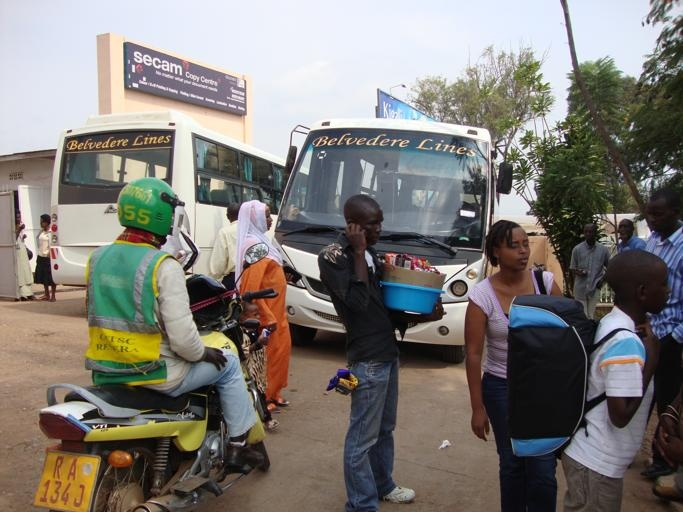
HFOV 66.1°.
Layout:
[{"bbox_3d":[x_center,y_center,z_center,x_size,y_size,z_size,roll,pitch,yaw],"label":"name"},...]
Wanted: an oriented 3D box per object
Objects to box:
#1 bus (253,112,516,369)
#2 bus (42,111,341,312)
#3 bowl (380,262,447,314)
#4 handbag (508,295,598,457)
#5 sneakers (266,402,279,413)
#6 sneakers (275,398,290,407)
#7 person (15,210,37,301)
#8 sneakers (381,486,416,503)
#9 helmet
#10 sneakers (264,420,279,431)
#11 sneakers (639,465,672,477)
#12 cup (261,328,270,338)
[{"bbox_3d":[1.395,-0.274,10.903,3.538,3.672,7.049,6,2,14],"label":"bus"},{"bbox_3d":[-3.428,-1.209,14.699,3.519,4.087,9.052,0,4,10],"label":"bus"},{"bbox_3d":[0.481,0.237,3.584,0.366,0.255,0.312,7,-8,10],"label":"bowl"},{"bbox_3d":[1.157,0.614,2.954,0.491,0.893,0.616,-2,10,6],"label":"handbag"},{"bbox_3d":[-0.747,1.668,5.797,0.186,0.078,0.075,0,6,0],"label":"sneakers"},{"bbox_3d":[-0.663,1.667,6.003,0.149,0.066,0.066,1,3,36],"label":"sneakers"},{"bbox_3d":[-7.815,-0.014,13.037,0.406,2.138,1.101,1,4,-30],"label":"person"},{"bbox_3d":[0.450,1.803,4.004,0.217,0.103,0.105,-3,5,1],"label":"sneakers"},{"bbox_3d":[-1.252,-0.331,3.500,0.365,0.385,0.455,6,1,31],"label":"helmet"},{"bbox_3d":[-0.698,1.708,5.317,0.061,0.082,0.179,-2,-6,-33],"label":"sneakers"},{"bbox_3d":[2.599,1.770,4.338,0.238,0.094,0.088,0,-5,-11],"label":"sneakers"},{"bbox_3d":[-0.671,0.681,4.700,0.069,0.051,0.048,2,0,10],"label":"cup"}]
